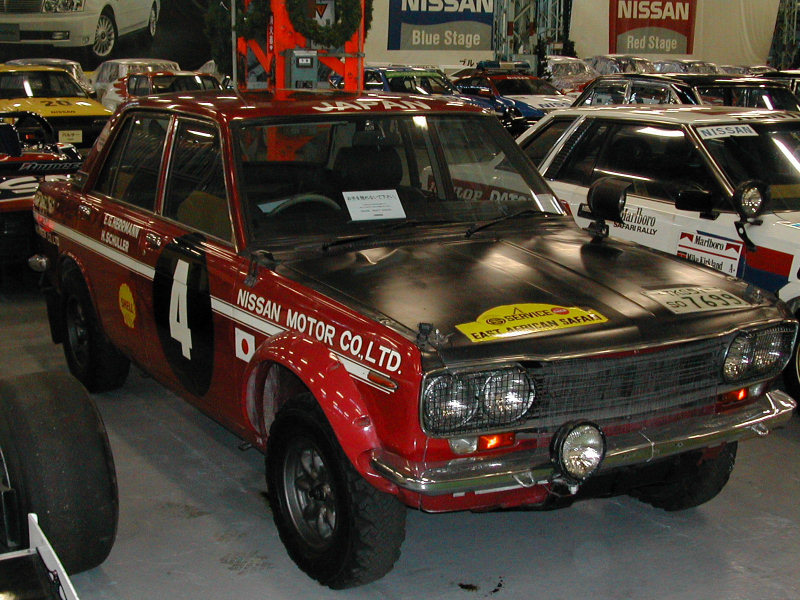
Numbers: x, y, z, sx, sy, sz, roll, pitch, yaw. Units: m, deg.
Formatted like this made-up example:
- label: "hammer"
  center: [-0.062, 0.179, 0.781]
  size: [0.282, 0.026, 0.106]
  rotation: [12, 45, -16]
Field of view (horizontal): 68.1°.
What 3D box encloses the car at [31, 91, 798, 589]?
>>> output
- label: "car"
  center: [-0.436, -0.139, 3.462]
  size: [2.540, 1.300, 3.918]
  rotation: [-9, 18, -35]
